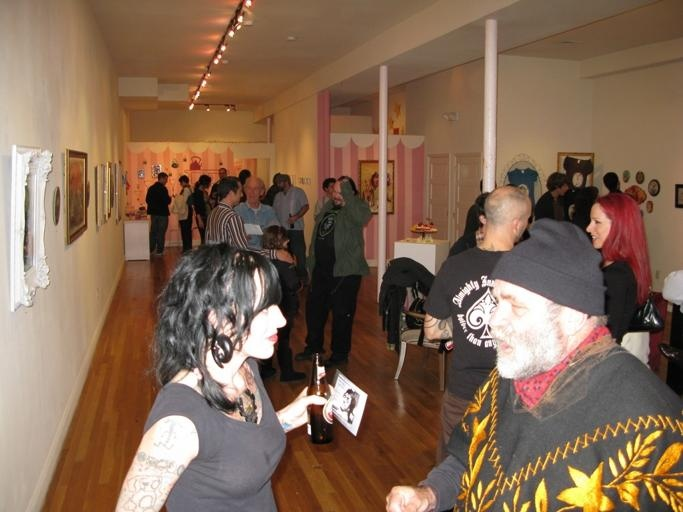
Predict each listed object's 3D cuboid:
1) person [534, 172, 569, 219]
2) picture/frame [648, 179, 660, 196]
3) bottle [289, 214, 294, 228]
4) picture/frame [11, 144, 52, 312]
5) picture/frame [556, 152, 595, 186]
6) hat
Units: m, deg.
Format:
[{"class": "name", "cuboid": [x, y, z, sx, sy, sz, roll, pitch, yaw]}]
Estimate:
[{"class": "person", "cuboid": [3.115, -0.899, 7.962, 0.379, 0.709, 0.787, 5, 10, 35]}, {"class": "picture/frame", "cuboid": [5.161, -1.139, 8.785, 0.063, 0.279, 0.215, -4, 8, -22]}, {"class": "bottle", "cuboid": [-0.917, -0.617, 9.718, 0.040, 0.198, 0.125, 2, 9, 22]}, {"class": "picture/frame", "cuboid": [-1.797, -0.159, 3.073, 0.141, 0.933, 0.625, -3, 8, -20]}, {"class": "picture/frame", "cuboid": [4.011, -1.547, 9.206, 0.641, 0.772, 0.054, -3, 16, -8]}, {"class": "hat", "cuboid": [0.595, 0.012, 1.601, 0.293, 0.220, 0.229, 25, 13, -2]}]
